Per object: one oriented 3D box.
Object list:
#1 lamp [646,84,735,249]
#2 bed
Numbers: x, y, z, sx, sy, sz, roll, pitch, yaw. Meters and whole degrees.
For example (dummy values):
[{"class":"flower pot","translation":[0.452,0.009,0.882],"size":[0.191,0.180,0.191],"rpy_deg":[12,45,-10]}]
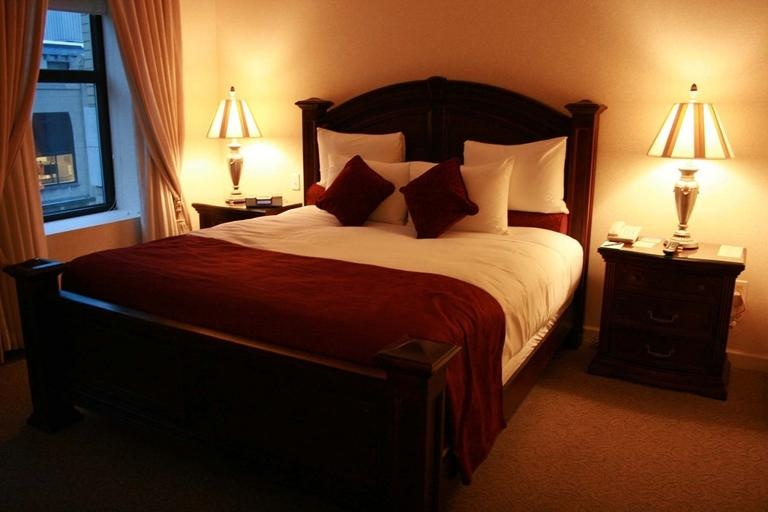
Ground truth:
[{"class":"lamp","translation":[2.153,-0.639,3.877],"size":[0.477,1.095,0.475],"rpy_deg":[15,20,38]},{"class":"bed","translation":[-0.083,0.167,4.109],"size":[2.971,2.155,3.477],"rpy_deg":[7,15,30]}]
